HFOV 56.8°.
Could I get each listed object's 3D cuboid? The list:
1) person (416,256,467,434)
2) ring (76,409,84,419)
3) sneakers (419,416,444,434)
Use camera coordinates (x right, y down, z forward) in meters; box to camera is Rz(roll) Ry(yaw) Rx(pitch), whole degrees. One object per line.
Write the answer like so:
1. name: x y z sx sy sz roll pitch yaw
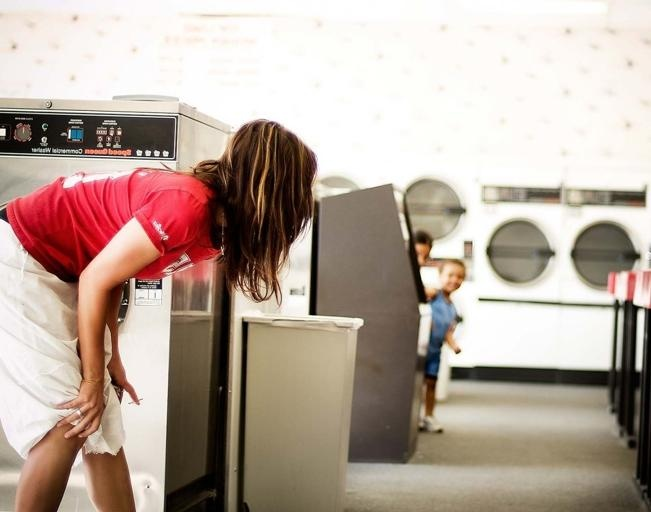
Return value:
1. person: 0.806 0.616 4.184 0.311 1.325 0.556 -8 -26 26
2. ring: -0.648 0.416 1.577 0.014 0.017 0.011 8 6 -9
3. sneakers: 0.678 1.077 3.830 0.130 0.064 0.076 10 2 -3
